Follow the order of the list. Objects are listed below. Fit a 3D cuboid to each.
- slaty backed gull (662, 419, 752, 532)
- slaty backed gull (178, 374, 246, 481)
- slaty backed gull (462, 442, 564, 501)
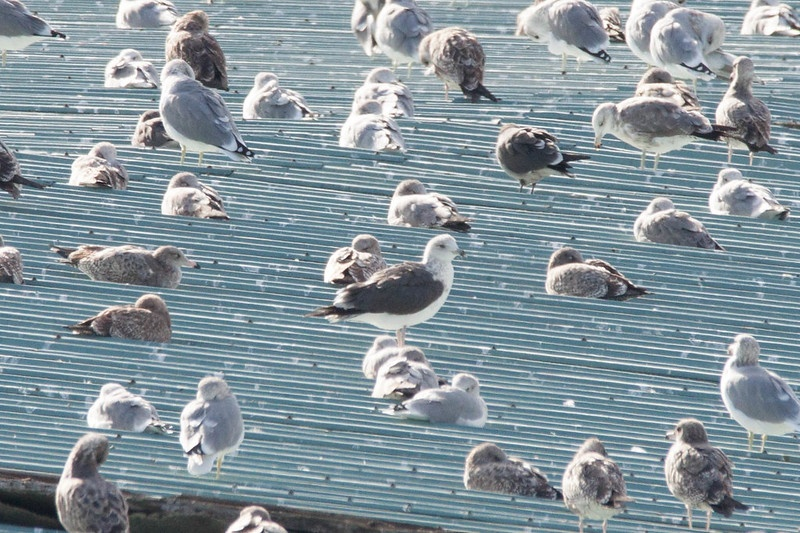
[{"bbox_3d":[3.678,2.528,26.490,0.776,1.201,0.910,-12,14,-24],"label":"slaty backed gull"},{"bbox_3d":[-2.317,1.959,26.466,0.766,0.937,1.228,6,46,2],"label":"slaty backed gull"},{"bbox_3d":[1.402,2.514,26.465,1.221,0.646,0.605,2,-10,5],"label":"slaty backed gull"}]
